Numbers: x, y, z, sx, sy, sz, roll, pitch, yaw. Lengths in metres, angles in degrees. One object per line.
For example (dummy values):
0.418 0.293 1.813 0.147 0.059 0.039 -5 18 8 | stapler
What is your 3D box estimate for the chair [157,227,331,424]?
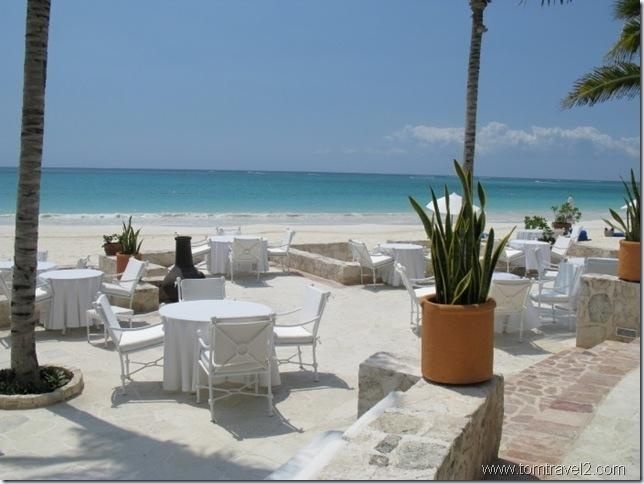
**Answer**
-1.269 1.139 5.963 1.327 1.073 2.382 -7 9 -32 | chair
